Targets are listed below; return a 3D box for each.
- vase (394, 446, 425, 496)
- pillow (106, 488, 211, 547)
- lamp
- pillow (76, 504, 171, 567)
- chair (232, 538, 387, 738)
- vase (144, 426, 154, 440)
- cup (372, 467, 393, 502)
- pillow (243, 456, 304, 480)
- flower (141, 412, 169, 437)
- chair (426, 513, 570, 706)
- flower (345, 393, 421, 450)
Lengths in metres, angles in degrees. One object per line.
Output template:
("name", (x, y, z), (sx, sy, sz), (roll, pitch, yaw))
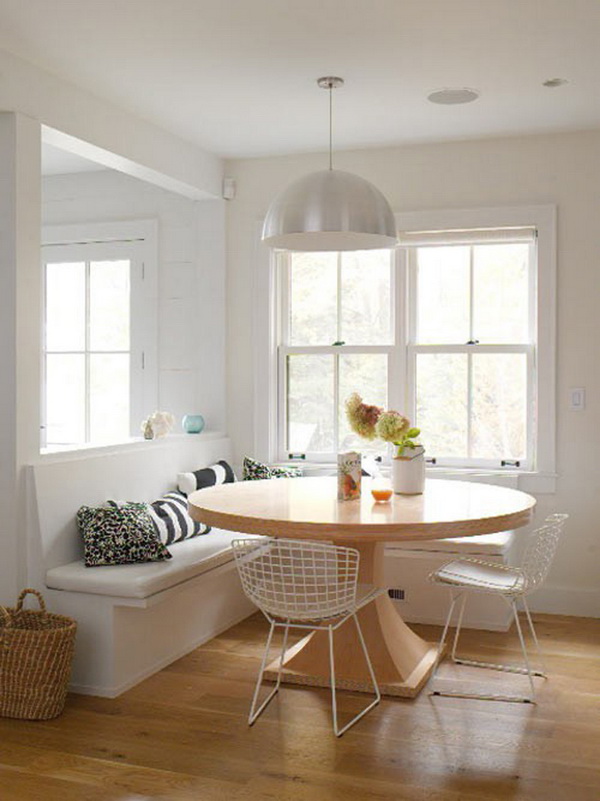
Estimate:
("vase", (0.440, 0.294, 2.989), (0.139, 0.190, 0.144), (7, -13, -9))
("pillow", (-0.756, 0.595, 3.520), (0.575, 0.133, 0.555), (-2, 13, -9))
("lamp", (0.092, -0.784, 2.639), (0.423, 0.444, 0.434), (-1, 2, -2))
("pillow", (-0.738, 0.572, 3.016), (0.294, 0.092, 0.289), (3, 40, -31))
("chair", (0.027, 0.806, 2.589), (0.502, 0.646, 0.497), (-3, -1, 43))
("vase", (-0.845, 0.177, 3.992), (0.048, 0.070, 0.046), (1, -3, -20))
("cup", (0.312, 0.348, 2.773), (0.092, 0.111, 0.093), (-1, -2, 0))
("pillow", (-0.173, 0.404, 4.101), (0.243, 0.095, 0.168), (1, -2, 12))
("flower", (-0.824, 0.141, 4.020), (0.126, 0.151, 0.199), (-1, -2, 7))
("chair", (0.762, 0.801, 2.808), (0.474, 0.636, 0.412), (-1, -4, 22))
("flower", (0.338, 0.091, 2.939), (0.267, 0.223, 0.216), (-2, -3, 35))
